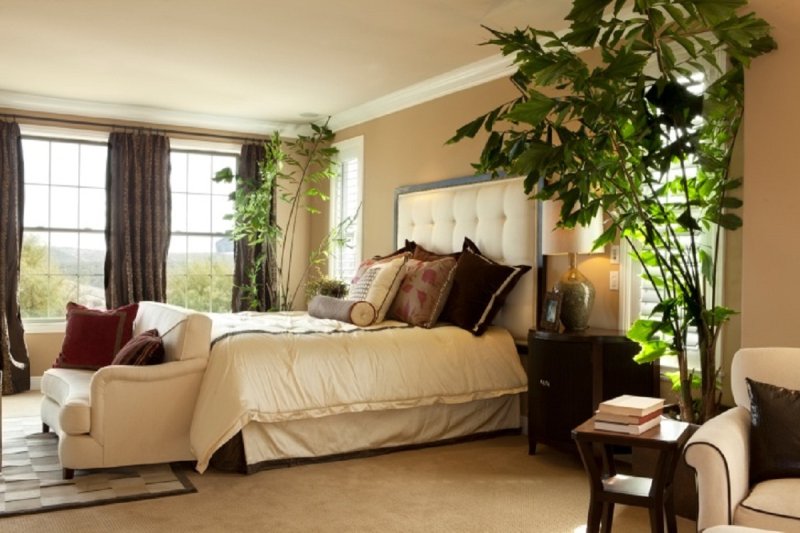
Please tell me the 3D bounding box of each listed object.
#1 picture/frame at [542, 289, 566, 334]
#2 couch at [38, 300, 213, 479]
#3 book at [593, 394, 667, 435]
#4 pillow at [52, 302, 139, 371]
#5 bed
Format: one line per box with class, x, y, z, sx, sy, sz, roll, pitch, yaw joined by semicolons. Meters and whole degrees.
picture/frame;1.216;0.365;4.628;0.038;0.360;0.285;14;-18;-21
couch;-2.198;1.043;4.714;1.097;1.233;1.800;4;-5;-29
book;1.307;0.801;3.268;0.208;0.091;0.272;-2;-3;38
pillow;-2.619;0.616;5.086;0.601;0.536;0.181;4;-22;6
bed;-0.359;0.426;5.344;2.560;1.787;2.796;2;-1;-16
